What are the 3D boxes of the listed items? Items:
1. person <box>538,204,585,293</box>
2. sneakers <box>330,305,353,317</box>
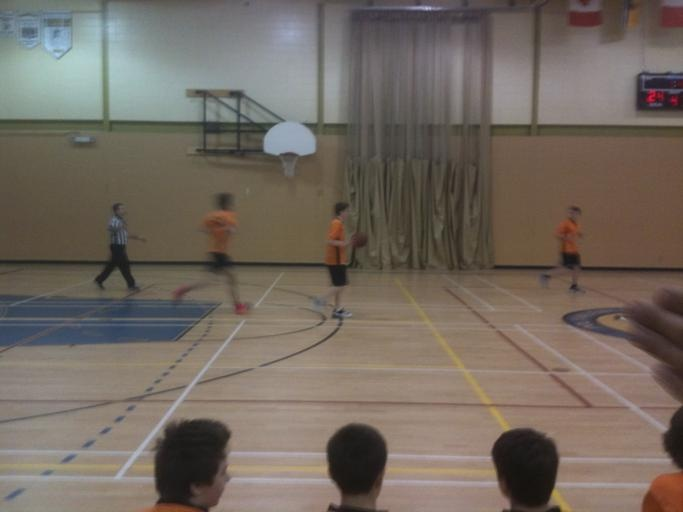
[{"bbox_3d":[3.881,-0.125,12.850,0.651,1.556,1.038,5,13,18],"label":"person"},{"bbox_3d":[-0.017,0.844,10.861,0.263,0.133,0.123,1,4,-3],"label":"sneakers"}]
